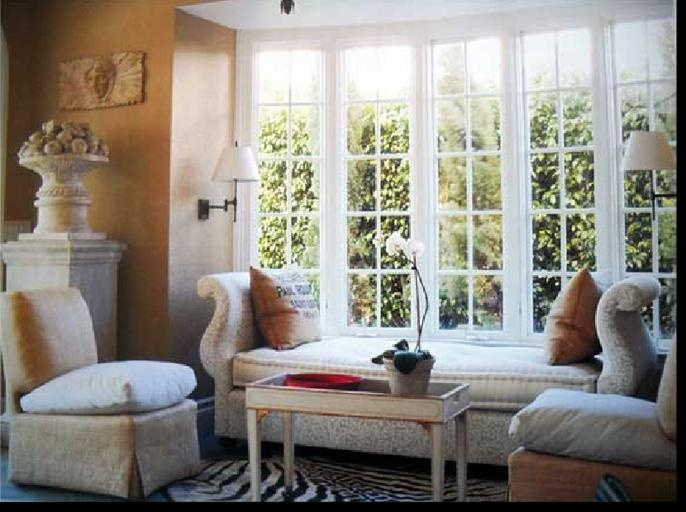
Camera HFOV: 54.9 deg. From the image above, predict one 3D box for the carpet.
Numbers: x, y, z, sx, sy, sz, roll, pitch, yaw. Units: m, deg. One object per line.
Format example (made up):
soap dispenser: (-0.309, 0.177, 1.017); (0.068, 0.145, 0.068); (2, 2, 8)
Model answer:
carpet: (0.332, 1.519, 4.434); (1.706, 0.047, 2.560); (2, -21, 12)

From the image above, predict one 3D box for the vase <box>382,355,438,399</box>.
vase: (0.349, 0.616, 3.473); (0.282, 0.220, 0.284); (6, 10, 42)

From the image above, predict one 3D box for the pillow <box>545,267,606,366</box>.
pillow: (1.507, 0.445, 4.273); (0.383, 0.553, 0.709); (-5, -14, 26)

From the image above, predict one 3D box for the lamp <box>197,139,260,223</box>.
lamp: (-0.883, -0.532, 4.972); (0.452, 0.623, 0.319); (3, 5, 28)

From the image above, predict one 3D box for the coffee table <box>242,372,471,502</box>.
coffee table: (0.059, 1.042, 3.590); (1.102, 0.683, 0.497); (-1, -3, 23)

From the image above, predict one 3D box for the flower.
flower: (0.315, 0.279, 3.727); (0.358, 0.804, 0.215); (1, 3, 9)

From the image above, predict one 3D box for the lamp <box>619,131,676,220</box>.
lamp: (2.103, -0.534, 4.496); (0.336, 0.624, 0.332); (-11, 8, -40)

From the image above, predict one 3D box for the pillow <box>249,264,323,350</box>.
pillow: (-0.400, 0.380, 4.864); (0.367, 0.598, 0.725); (2, 0, 22)

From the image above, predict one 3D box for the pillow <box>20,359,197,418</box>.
pillow: (-1.330, 0.773, 3.773); (0.439, 0.170, 0.462); (-13, -3, 5)

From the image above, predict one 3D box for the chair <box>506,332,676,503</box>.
chair: (1.279, 0.765, 3.486); (0.808, 0.808, 0.827); (-1, -5, 24)
